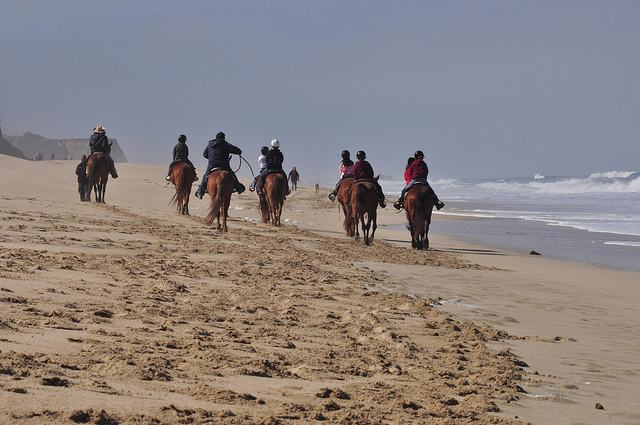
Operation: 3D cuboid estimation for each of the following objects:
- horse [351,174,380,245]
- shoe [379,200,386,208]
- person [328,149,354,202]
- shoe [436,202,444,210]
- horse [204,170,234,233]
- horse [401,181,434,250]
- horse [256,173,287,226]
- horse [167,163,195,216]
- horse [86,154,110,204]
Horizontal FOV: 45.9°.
[{"bbox_3d":[1.339,-0.233,21.023,0.585,1.868,2.513,3,6,13],"label":"horse"},{"bbox_3d":[1.778,-0.270,21.632,0.151,0.196,0.381,4,9,5],"label":"shoe"},{"bbox_3d":[0.682,-0.857,20.329,0.356,1.623,1.075,13,-42,-10],"label":"person"},{"bbox_3d":[3.237,-0.163,20.446,0.183,0.186,0.582,5,9,8],"label":"shoe"},{"bbox_3d":[-2.708,-0.291,20.275,0.746,1.553,1.634,2,9,-7],"label":"horse"},{"bbox_3d":[2.799,-0.144,20.669,0.661,2.032,2.860,2,10,11],"label":"horse"},{"bbox_3d":[-1.548,-0.456,23.964,0.893,1.794,2.784,3,9,-6],"label":"horse"},{"bbox_3d":[-4.616,-0.817,25.235,0.774,1.762,2.453,2,9,-11],"label":"horse"},{"bbox_3d":[-7.944,-1.182,27.061,0.761,1.822,1.895,1,9,-17],"label":"horse"}]
